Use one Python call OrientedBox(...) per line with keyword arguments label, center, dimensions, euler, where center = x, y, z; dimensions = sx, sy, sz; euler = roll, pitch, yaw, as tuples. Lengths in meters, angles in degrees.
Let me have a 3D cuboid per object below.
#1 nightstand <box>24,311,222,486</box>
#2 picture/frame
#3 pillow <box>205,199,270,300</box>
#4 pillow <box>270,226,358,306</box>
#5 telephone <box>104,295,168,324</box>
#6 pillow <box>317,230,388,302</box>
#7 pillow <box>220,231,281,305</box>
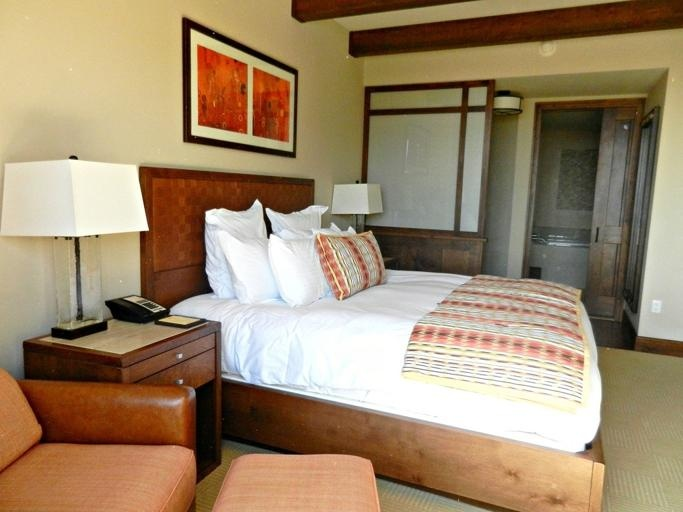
OrientedBox(label="nightstand", center=(-1.090, 0.671, 2.965), dimensions=(0.832, 1.058, 0.938), euler=(1, 5, 19))
OrientedBox(label="picture/frame", center=(-0.751, -1.178, 3.710), dimensions=(0.049, 0.803, 1.028), euler=(8, 11, 30))
OrientedBox(label="pillow", center=(-0.699, -0.025, 3.372), dimensions=(0.223, 0.520, 0.650), euler=(-2, 7, 20))
OrientedBox(label="pillow", center=(-0.199, 0.066, 3.269), dimensions=(0.176, 0.383, 0.605), euler=(-14, -1, 30))
OrientedBox(label="telephone", center=(-1.140, 0.288, 2.870), dimensions=(0.236, 0.091, 0.175), euler=(6, 12, 14))
OrientedBox(label="pillow", center=(0.060, 0.080, 3.551), dimensions=(0.134, 0.266, 0.471), euler=(-20, -2, 32))
OrientedBox(label="pillow", center=(-0.583, 0.092, 3.268), dimensions=(0.205, 0.403, 0.451), euler=(-6, -2, 28))
